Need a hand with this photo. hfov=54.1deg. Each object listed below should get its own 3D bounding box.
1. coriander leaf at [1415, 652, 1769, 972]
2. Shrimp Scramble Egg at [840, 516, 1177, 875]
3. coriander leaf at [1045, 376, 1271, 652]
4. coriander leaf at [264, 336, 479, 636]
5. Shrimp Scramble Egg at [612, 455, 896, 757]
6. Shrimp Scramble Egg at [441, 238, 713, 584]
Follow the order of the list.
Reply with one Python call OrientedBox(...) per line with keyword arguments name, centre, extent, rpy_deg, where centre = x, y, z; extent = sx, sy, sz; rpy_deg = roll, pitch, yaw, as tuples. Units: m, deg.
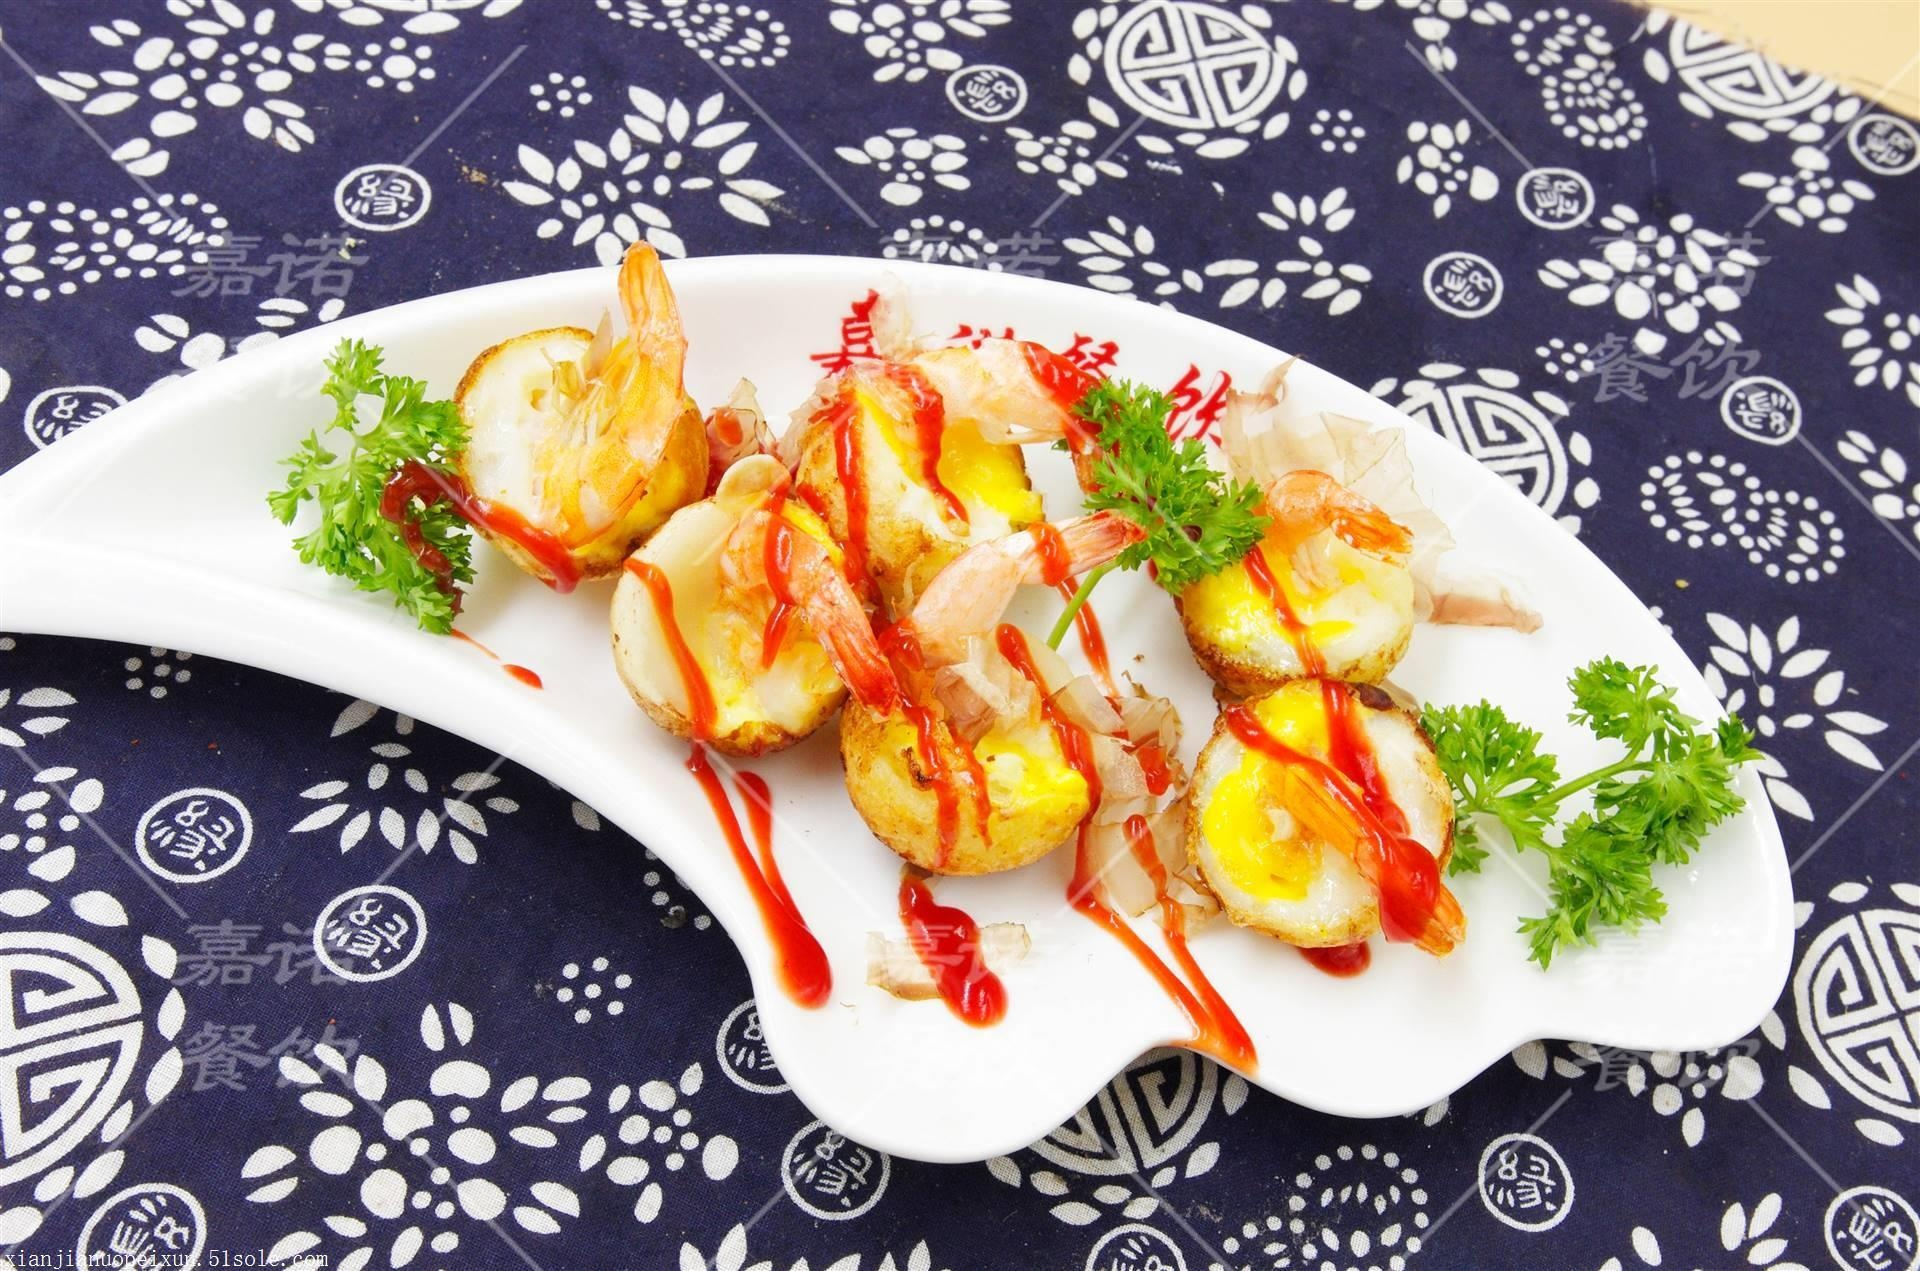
OrientedBox(name="coriander leaf", centre=(0.987, 0.258, 2.907), extent=(0.478, 0.141, 0.433), rpy_deg=(-12, 80, -7))
OrientedBox(name="Shrimp Scramble Egg", centre=(0.076, 0.101, 2.867), extent=(0.537, 0.163, 0.458), rpy_deg=(-18, 81, -8))
OrientedBox(name="coriander leaf", centre=(0.328, -0.214, 2.912), extent=(0.212, 0.245, 0.381), rpy_deg=(5, 120, 7))
OrientedBox(name="coriander leaf", centre=(-0.867, -0.202, 2.870), extent=(0.286, 0.114, 0.455), rpy_deg=(-27, 84, -4))
OrientedBox(name="Shrimp Scramble Egg", centre=(-0.287, -0.044, 2.950), extent=(0.381, 0.176, 0.399), rpy_deg=(-27, 91, 11))
OrientedBox(name="Shrimp Scramble Egg", centre=(-0.557, -0.333, 2.954), extent=(0.491, 0.225, 0.385), rpy_deg=(-41, 85, -3))
